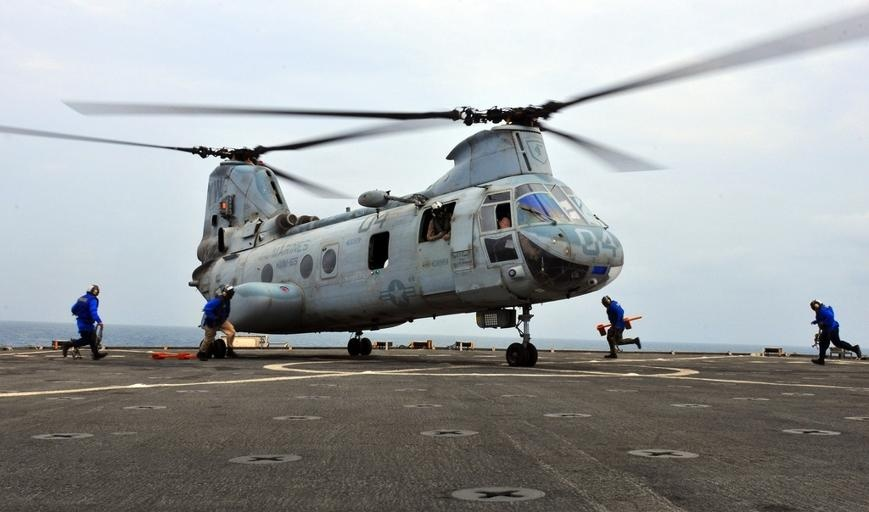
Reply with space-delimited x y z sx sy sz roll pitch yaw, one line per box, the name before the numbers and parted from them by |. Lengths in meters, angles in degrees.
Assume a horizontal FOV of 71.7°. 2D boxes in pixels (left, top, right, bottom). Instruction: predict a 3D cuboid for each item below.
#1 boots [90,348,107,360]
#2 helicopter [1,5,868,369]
boots | -11.272 3.250 20.197 0.564 0.199 0.689 -2 2 -31
helicopter | -1.384 -1.143 19.004 7.471 9.039 23.364 4 -9 -45
